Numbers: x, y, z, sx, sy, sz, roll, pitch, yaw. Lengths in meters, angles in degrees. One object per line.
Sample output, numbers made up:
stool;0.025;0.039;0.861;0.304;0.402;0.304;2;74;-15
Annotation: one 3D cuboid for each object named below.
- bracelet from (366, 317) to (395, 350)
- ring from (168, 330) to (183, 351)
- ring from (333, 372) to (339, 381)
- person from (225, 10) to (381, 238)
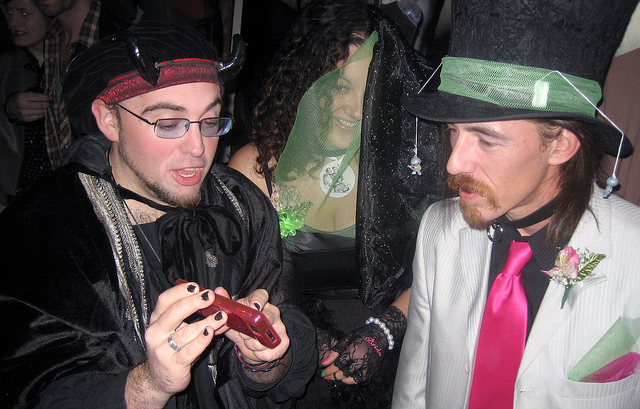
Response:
bracelet;0.436;0.840;3.481;0.063;0.207;0.153;-41;2;-9
ring;-0.760;0.706;2.666;0.067;0.079;0.031;-5;-4;0
ring;0.109;1.124;3.370;0.030;0.032;0.031;2;4;0
person;-0.067;-0.586;3.722;1.154;1.521;0.612;9;19;13
